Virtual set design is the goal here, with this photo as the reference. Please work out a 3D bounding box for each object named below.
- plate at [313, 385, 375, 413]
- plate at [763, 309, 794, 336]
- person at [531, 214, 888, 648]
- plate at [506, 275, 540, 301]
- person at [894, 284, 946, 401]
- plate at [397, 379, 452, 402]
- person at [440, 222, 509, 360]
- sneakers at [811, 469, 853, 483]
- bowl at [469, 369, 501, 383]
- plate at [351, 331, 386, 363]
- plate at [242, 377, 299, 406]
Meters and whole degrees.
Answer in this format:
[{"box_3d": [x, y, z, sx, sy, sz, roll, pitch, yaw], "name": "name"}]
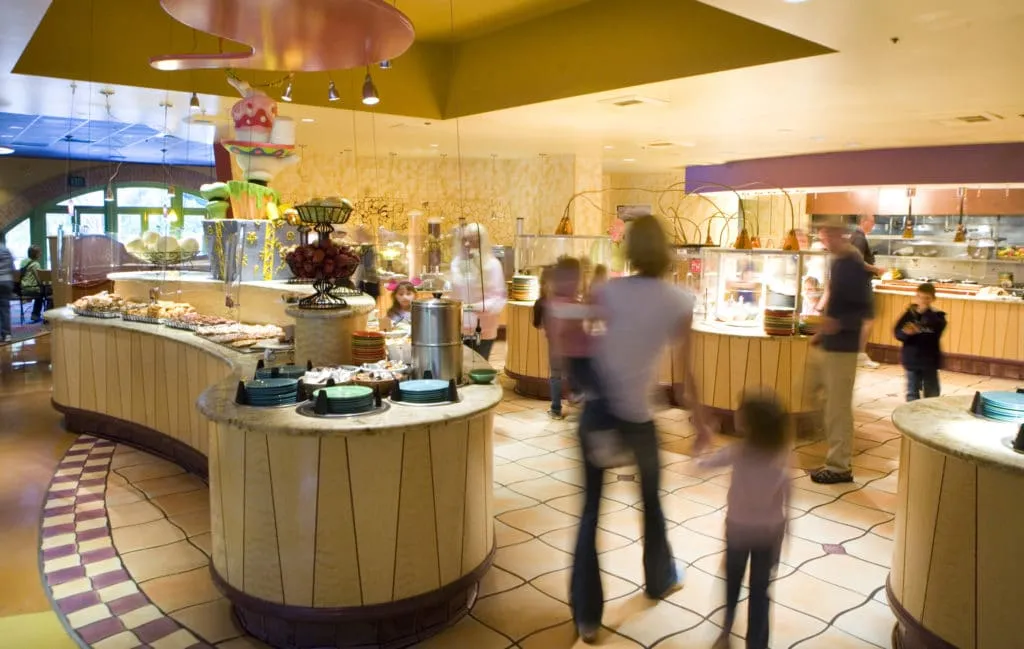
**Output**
[{"box_3d": [-1.120, 0.477, 4.612, 0.398, 0.140, 0.303, -2, 13, -13], "name": "plate"}, {"box_3d": [2.873, -0.027, 7.469, 0.311, 0.211, 0.289, -1, 3, -6], "name": "plate"}, {"box_3d": [0.823, 0.680, 4.655, 0.886, 2.778, 0.679, -1, 14, -8], "name": "person"}, {"box_3d": [0.162, -0.511, 9.461, 0.411, 0.300, 0.381, 1, 5, -6], "name": "plate"}, {"box_3d": [4.421, 0.188, 7.530, 0.493, 1.320, 0.409, 8, 15, 29], "name": "person"}, {"box_3d": [-0.614, 0.446, 4.785, 0.361, 0.116, 0.256, -1, 13, -7], "name": "plate"}, {"box_3d": [-0.386, -0.344, 7.648, 0.650, 1.562, 1.222, 0, 13, -5], "name": "person"}, {"box_3d": [3.011, 1.444, 6.638, 0.416, 0.155, 0.141, 3, 0, 0], "name": "sneakers"}, {"box_3d": [-0.203, 0.376, 5.209, 0.244, 0.093, 0.193, -5, 14, -25], "name": "bowl"}, {"box_3d": [-1.105, 0.161, 5.290, 0.258, 0.217, 0.241, -1, 5, -22], "name": "plate"}, {"box_3d": [-1.626, 0.457, 4.640, 0.236, 0.086, 0.222, 0, 5, 4], "name": "plate"}]
